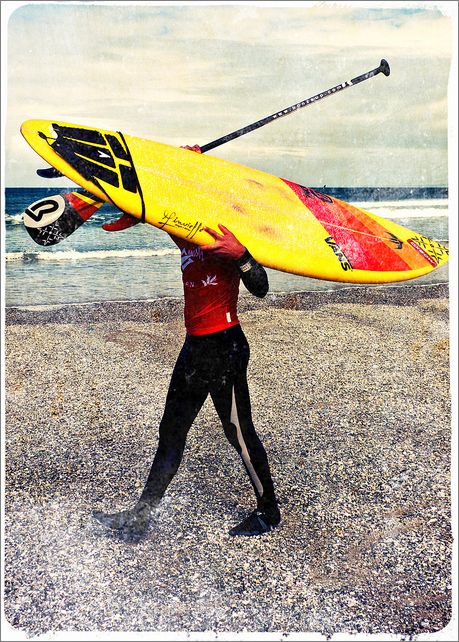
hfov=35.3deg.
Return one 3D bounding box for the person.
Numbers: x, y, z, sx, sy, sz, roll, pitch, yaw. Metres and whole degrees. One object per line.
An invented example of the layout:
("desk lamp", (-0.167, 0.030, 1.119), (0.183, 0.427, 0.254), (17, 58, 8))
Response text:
("person", (-0.181, 0.346, 3.660), (0.820, 1.674, 0.565), (-4, 27, 3))
